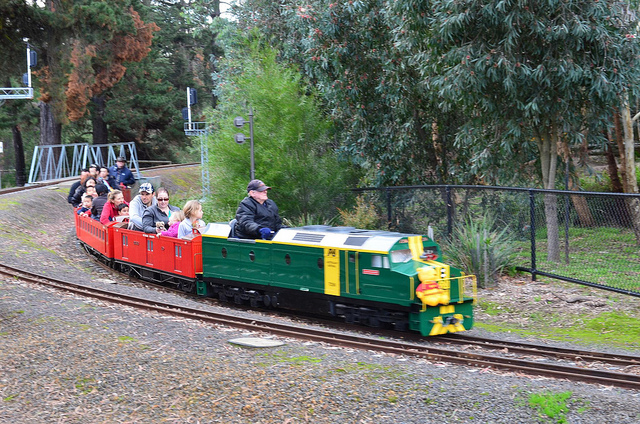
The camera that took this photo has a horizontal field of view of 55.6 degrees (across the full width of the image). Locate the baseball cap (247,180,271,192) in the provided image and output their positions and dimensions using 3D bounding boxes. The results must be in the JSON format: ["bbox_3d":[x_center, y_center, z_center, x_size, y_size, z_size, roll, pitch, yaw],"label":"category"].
[{"bbox_3d":[-1.684,-0.697,16.023,0.436,0.217,0.281,2,2,12],"label":"baseball cap"}]

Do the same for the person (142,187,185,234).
[{"bbox_3d":[-4.795,0.008,18.481,1.160,1.308,1.684,-1,13,-13],"label":"person"}]
